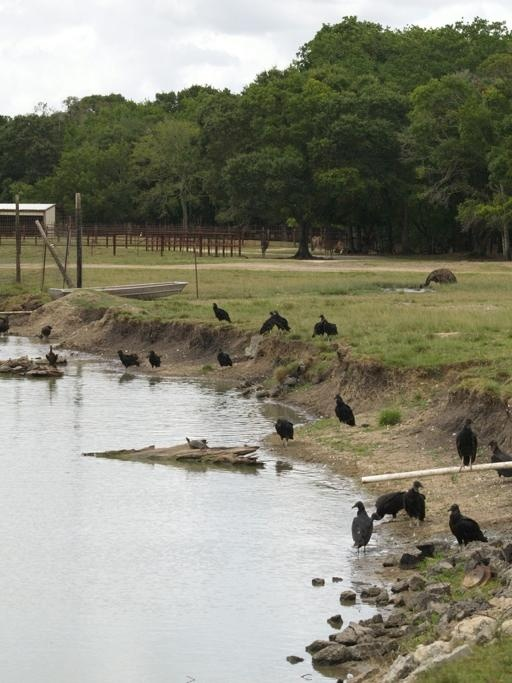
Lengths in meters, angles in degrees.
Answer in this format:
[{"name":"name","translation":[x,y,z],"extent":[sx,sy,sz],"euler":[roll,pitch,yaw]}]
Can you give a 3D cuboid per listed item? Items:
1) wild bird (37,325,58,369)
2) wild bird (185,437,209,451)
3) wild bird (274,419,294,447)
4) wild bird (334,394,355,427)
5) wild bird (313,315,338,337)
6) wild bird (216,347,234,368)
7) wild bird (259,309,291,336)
[{"name":"wild bird","translation":[-5.668,0.131,41.049],"extent":[0.281,1.115,0.430],"euler":[4,23,16]},{"name":"wild bird","translation":[-0.999,1.729,26.107],"extent":[0.385,0.261,0.796],"euler":[-3,8,-2]},{"name":"wild bird","translation":[0.513,1.523,26.495],"extent":[0.274,0.476,0.686],"euler":[-2,8,3]},{"name":"wild bird","translation":[1.627,1.228,27.236],"extent":[0.319,0.565,0.503],"euler":[-2,8,4]},{"name":"wild bird","translation":[1.640,-0.323,33.805],"extent":[0.243,0.645,0.943],"euler":[-3,8,-17]},{"name":"wild bird","translation":[-0.718,0.369,36.030],"extent":[0.367,0.523,1.364],"euler":[-3,8,-1]},{"name":"wild bird","translation":[0.504,-0.474,35.491],"extent":[0.347,0.597,0.875],"euler":[-1,1,-18]}]
